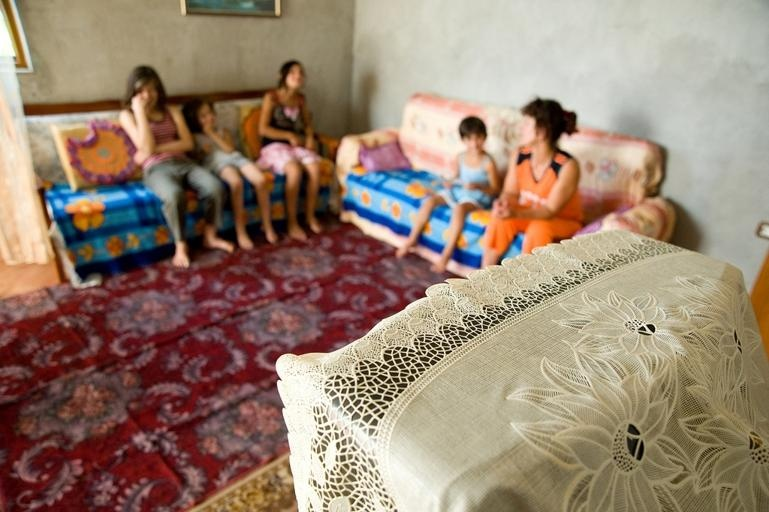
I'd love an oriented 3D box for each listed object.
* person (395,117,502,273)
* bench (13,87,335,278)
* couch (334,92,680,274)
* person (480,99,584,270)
[{"bbox_3d":[0.439,-0.446,3.600,0.406,0.717,0.857,20,42,33],"label":"person"},{"bbox_3d":[-1.273,-0.577,3.836,1.891,0.903,0.711,-16,35,-28],"label":"bench"},{"bbox_3d":[0.658,-0.423,3.778,0.825,0.980,2.263,-20,33,-40],"label":"couch"},{"bbox_3d":[0.872,-0.336,3.400,0.686,1.143,0.505,-13,21,-27],"label":"person"}]
